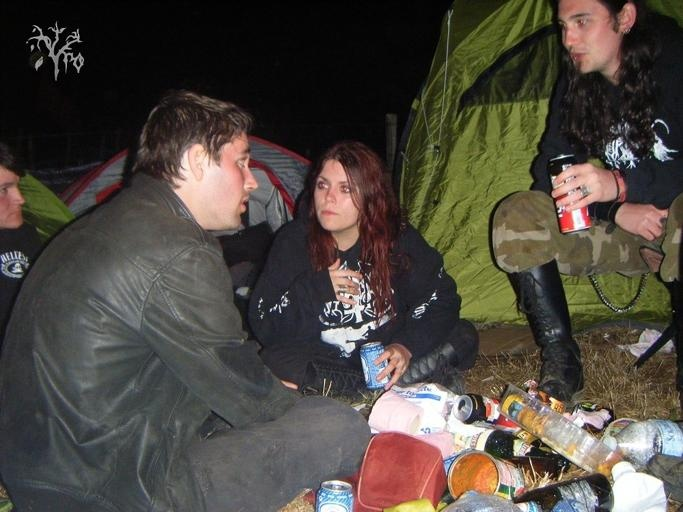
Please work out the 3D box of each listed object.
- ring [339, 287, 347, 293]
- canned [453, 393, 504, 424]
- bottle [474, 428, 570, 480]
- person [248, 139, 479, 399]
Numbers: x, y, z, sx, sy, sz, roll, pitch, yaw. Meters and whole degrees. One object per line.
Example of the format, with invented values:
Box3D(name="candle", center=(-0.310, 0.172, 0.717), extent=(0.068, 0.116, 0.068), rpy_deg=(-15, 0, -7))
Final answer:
Box3D(name="ring", center=(0.006, 0.197, 3.380), extent=(0.033, 0.030, 0.008), rpy_deg=(-4, 12, 1))
Box3D(name="canned", center=(0.643, 0.733, 2.746), extent=(0.137, 0.081, 0.086), rpy_deg=(7, -42, -42))
Box3D(name="bottle", center=(0.785, 0.867, 2.500), extent=(0.241, 0.070, 0.079), rpy_deg=(16, 7, 28))
Box3D(name="person", center=(0.218, 0.104, 3.626), extent=(1.583, 1.554, 1.009), rpy_deg=(-7, 22, -3))
